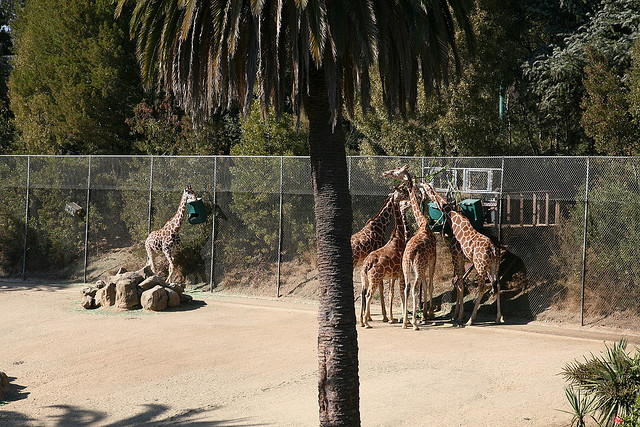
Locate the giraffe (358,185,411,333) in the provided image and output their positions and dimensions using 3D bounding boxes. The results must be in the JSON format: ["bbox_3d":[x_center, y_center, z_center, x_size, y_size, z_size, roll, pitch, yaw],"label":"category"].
[{"bbox_3d":[1.852,1.323,21.702,1.419,3.861,3.404,0,14,7],"label":"giraffe"}]

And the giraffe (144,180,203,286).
[{"bbox_3d":[-4.901,0.723,25.293,1.644,3.392,2.141,-12,17,-40],"label":"giraffe"}]
